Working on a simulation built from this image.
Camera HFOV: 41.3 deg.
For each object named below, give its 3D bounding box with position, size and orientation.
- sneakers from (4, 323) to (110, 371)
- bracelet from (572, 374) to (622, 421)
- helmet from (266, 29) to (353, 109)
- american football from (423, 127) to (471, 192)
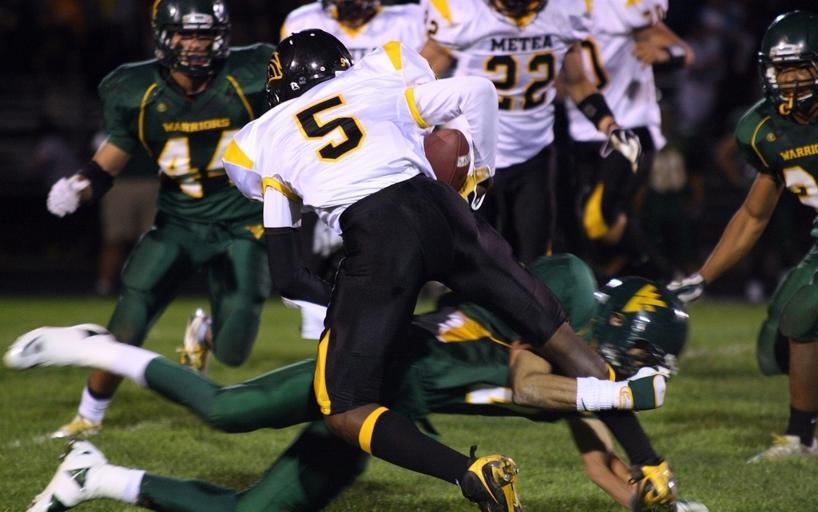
[{"bbox_3d":[-1.703,0.430,5.207,0.498,0.172,0.204,-2,42,-19],"label":"sneakers"},{"bbox_3d":[0.851,0.613,4.839,0.196,0.142,0.057,2,10,9],"label":"bracelet"},{"bbox_3d":[-0.490,-0.933,5.391,0.423,0.347,0.322,-10,6,34],"label":"helmet"},{"bbox_3d":[0.194,-0.495,5.333,0.187,0.276,0.330,34,36,-24],"label":"american football"}]
